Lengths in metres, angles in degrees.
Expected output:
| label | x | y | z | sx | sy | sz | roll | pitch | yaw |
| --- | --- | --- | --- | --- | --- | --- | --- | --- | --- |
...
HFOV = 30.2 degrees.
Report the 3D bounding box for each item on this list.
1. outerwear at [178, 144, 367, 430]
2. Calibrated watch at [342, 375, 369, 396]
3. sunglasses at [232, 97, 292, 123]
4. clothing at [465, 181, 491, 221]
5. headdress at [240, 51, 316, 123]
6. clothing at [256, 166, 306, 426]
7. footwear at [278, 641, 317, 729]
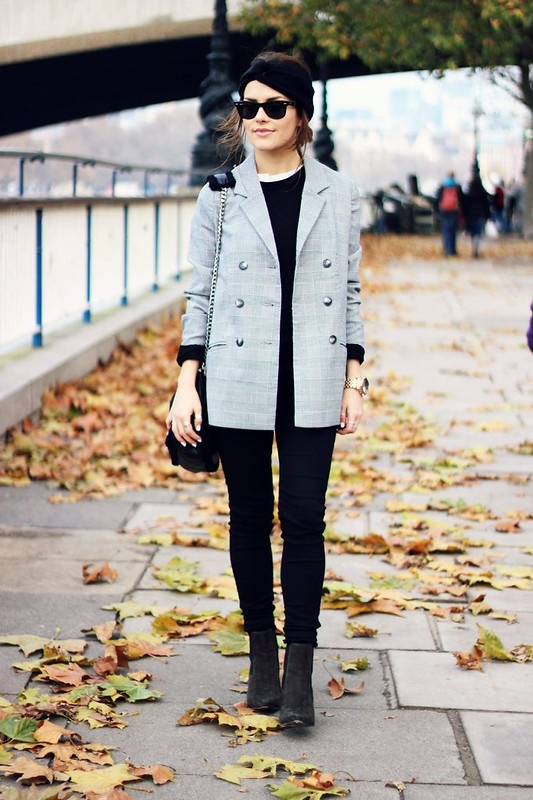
| label | x | y | z | sx | sy | sz | roll | pitch | yaw |
| --- | --- | --- | --- | --- | --- | --- | --- | --- | --- |
| outerwear | 0.023 | -0.278 | 2.566 | 0.478 | 0.706 | 0.305 | 2 | 8 | 1 |
| Calibrated watch | 0.235 | -0.031 | 2.617 | 0.066 | 0.038 | 0.059 | -1 | -17 | 19 |
| sunglasses | -0.013 | -0.726 | 2.498 | 0.153 | 0.055 | 0.058 | 4 | 9 | 20 |
| clothing | 4.850 | -4.553 | 22.666 | 0.540 | 0.943 | 1.277 | 3 | 8 | 13 |
| headdress | 0.044 | -0.806 | 2.569 | 0.180 | 0.173 | 0.148 | -3 | 50 | 16 |
| clothing | 0.046 | -0.278 | 2.521 | 0.136 | 0.552 | 0.070 | -2 | 12 | -6 |
| footwear | 0.082 | 0.732 | 2.525 | 0.091 | 0.209 | 0.209 | 2 | 8 | 4 |
